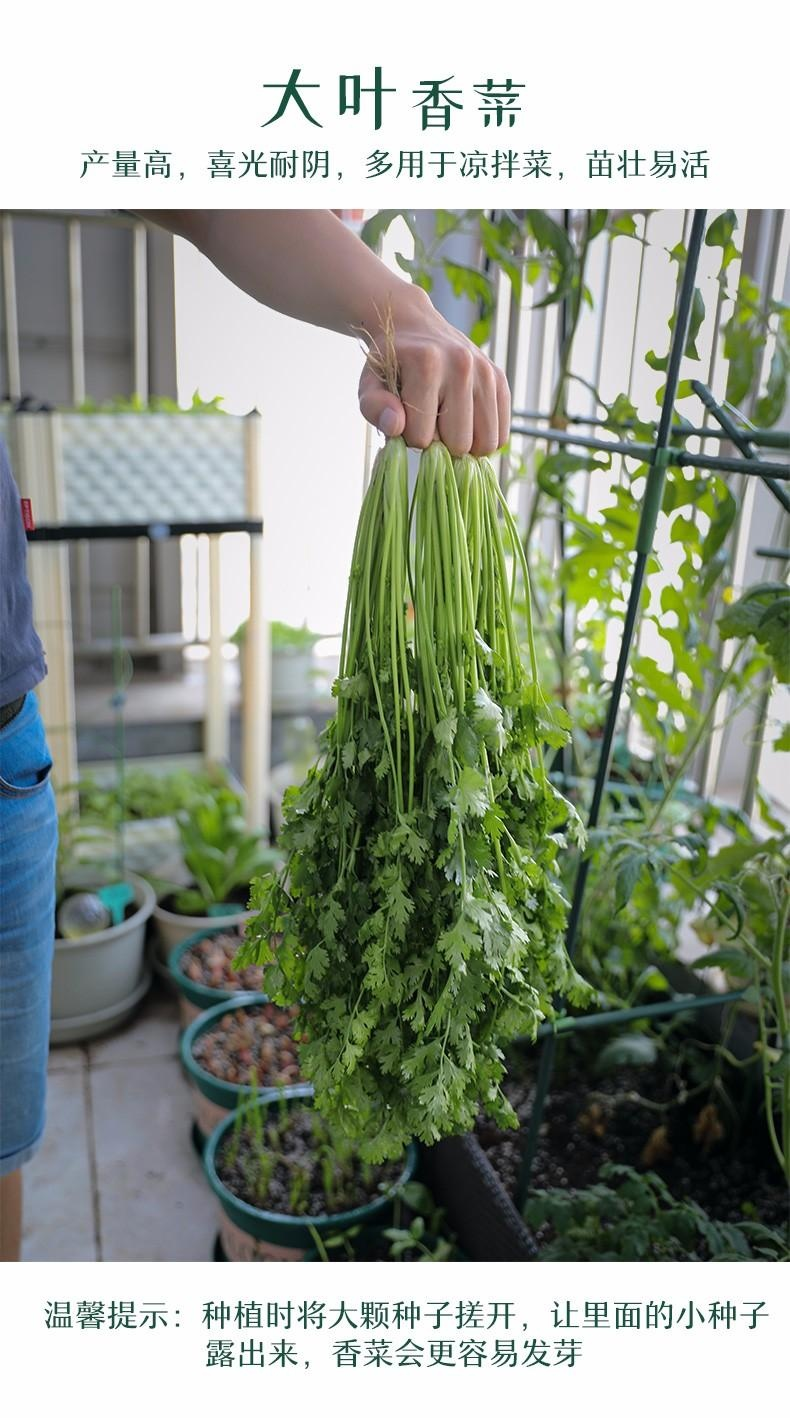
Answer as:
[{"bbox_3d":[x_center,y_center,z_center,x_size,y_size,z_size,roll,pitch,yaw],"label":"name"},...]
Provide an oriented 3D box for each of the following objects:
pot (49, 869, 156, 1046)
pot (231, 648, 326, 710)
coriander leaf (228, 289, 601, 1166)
[{"bbox_3d":[-0.590,0.518,1.926,0.197,0.166,0.214,0,8,0],"label":"pot"},{"bbox_3d":[-0.310,-0.060,2.677,0.154,0.171,0.159,-1,-14,0],"label":"pot"},{"bbox_3d":[0.031,0.062,0.741,0.230,0.515,0.312,16,22,33],"label":"coriander leaf"}]
